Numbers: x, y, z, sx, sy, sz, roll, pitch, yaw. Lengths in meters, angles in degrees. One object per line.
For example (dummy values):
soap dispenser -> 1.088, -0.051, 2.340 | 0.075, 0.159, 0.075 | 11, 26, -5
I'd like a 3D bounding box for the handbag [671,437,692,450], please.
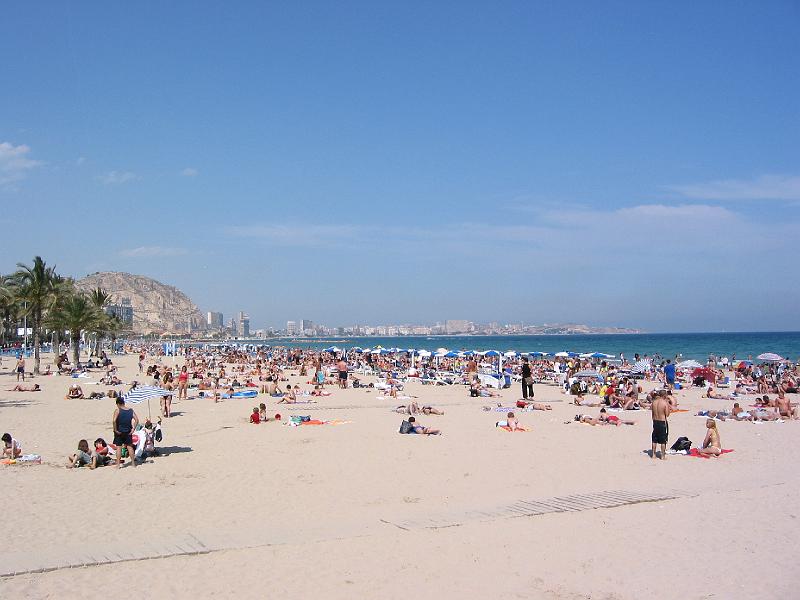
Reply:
handbag -> 6.395, 3.275, 17.913 | 0.386, 0.183, 0.535 | 0, 0, 15
